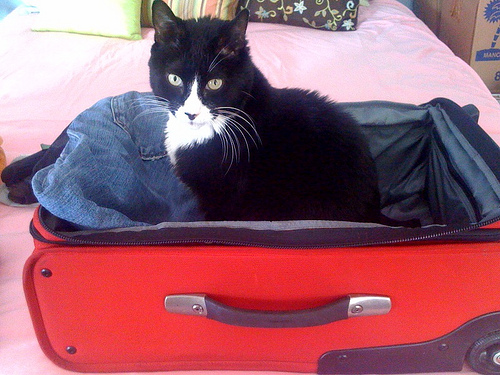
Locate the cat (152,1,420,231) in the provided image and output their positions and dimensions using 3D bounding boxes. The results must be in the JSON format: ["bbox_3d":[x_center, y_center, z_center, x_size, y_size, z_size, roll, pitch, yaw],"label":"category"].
[{"bbox_3d":[0.128,-0.152,1.202,0.759,0.606,0.304,3,10,6],"label":"cat"}]
